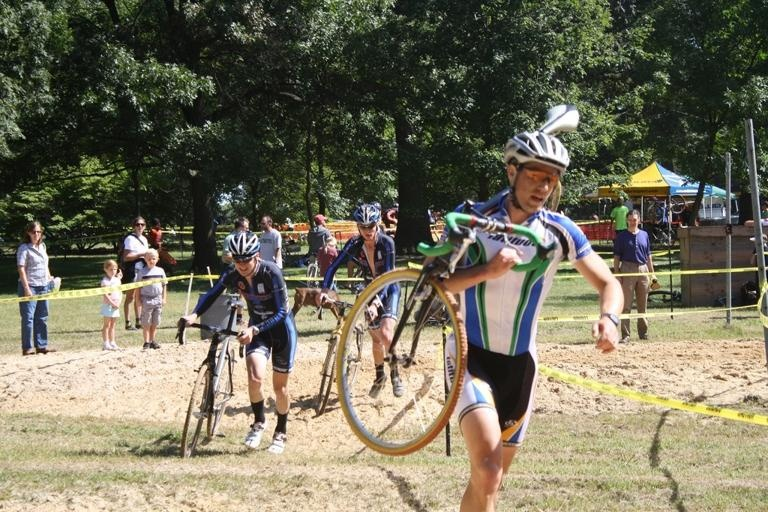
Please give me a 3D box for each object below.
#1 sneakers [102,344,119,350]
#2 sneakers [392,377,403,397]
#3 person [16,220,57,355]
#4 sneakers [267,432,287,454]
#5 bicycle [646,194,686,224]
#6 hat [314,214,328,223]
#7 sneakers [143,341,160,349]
[{"bbox_3d":[-7.196,2.373,26.520,0.166,0.215,0.544,4,-9,-37],"label":"sneakers"},{"bbox_3d":[0.268,2.568,19.896,0.178,0.485,0.205,-11,-35,-8],"label":"sneakers"},{"bbox_3d":[-9.152,0.804,26.491,0.873,3.490,1.085,-2,2,-19],"label":"person"},{"bbox_3d":[-2.314,4.103,22.171,0.241,0.222,0.525,24,27,-18],"label":"sneakers"},{"bbox_3d":[12.844,-2.186,46.037,1.597,1.063,0.856,-1,3,1],"label":"bicycle"},{"bbox_3d":[-2.073,-1.241,32.714,0.276,0.227,0.416,8,28,18],"label":"hat"},{"bbox_3d":[-6.073,2.297,26.302,0.428,0.189,0.183,3,0,-1],"label":"sneakers"}]
